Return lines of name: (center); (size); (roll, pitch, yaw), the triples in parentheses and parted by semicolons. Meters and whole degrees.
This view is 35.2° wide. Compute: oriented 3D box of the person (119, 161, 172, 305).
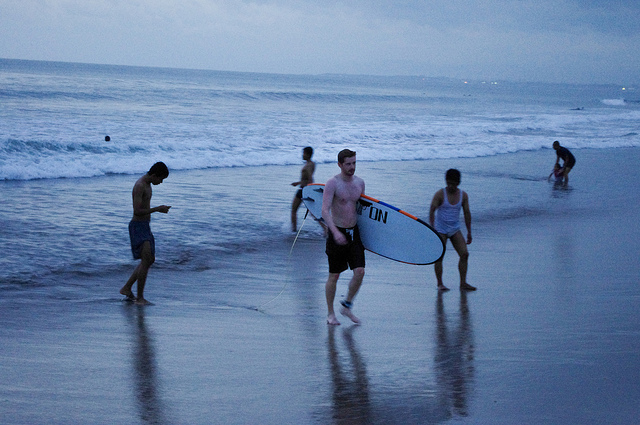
person: (-3.278, 0.375, 19.009); (0.899, 2.647, 0.510); (0, 12, -10)

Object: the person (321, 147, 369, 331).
person: (0.445, 0.408, 18.813); (0.854, 3.245, 1.576); (2, 11, 1)

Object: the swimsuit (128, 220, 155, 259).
swimsuit: (-3.345, 0.489, 19.085); (0.425, 0.750, 0.251); (-1, 12, -14)

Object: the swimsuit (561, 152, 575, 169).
swimsuit: (7.221, -1.512, 28.997); (0.391, 0.550, 0.477); (-3, 10, -6)

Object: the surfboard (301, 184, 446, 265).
surfboard: (1.000, 0.178, 19.167); (3.266, 0.926, 0.617); (26, -1, 25)

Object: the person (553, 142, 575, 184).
person: (7.060, -1.501, 29.261); (0.600, 1.097, 1.468); (4, 11, 13)
